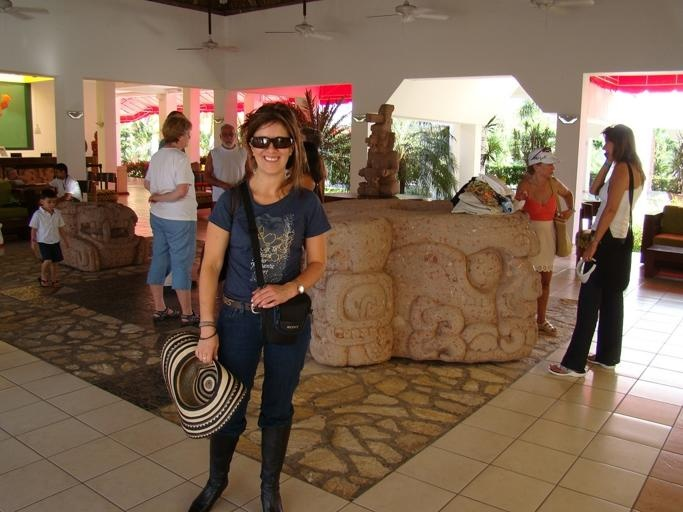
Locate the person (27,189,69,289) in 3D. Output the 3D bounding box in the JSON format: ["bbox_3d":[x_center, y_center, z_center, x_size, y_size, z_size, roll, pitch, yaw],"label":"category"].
[{"bbox_3d":[-3.903,-0.291,6.129,0.382,1.258,0.891,-6,14,-34],"label":"person"}]

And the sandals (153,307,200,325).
[{"bbox_3d":[-1.672,0.581,4.719,0.553,0.210,0.201,0,6,-13],"label":"sandals"}]

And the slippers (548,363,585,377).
[{"bbox_3d":[1.854,0.932,3.751,0.224,0.089,0.106,6,5,25],"label":"slippers"}]

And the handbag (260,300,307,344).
[{"bbox_3d":[-0.227,0.239,1.932,0.200,0.225,0.165,-2,8,-32],"label":"handbag"}]

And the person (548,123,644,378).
[{"bbox_3d":[2.115,-0.040,3.738,0.424,2.017,0.698,11,15,39],"label":"person"}]

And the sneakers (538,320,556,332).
[{"bbox_3d":[2.127,0.722,4.695,0.199,0.090,0.090,-3,9,-20],"label":"sneakers"}]

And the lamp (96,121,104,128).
[{"bbox_3d":[-8.115,-4.482,15.532,0.296,0.203,0.219,3,0,44],"label":"lamp"}]

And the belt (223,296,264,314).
[{"bbox_3d":[-0.418,0.208,1.928,0.096,0.023,0.097,11,7,0],"label":"belt"}]

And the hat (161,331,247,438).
[{"bbox_3d":[-0.584,0.533,1.932,0.361,0.385,0.192,10,15,39],"label":"hat"}]

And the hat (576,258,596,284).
[{"bbox_3d":[1.998,0.122,3.741,0.069,0.190,0.137,9,7,-36],"label":"hat"}]

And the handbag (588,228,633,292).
[{"bbox_3d":[2.177,0.040,3.682,0.356,0.514,0.104,-3,12,-20],"label":"handbag"}]

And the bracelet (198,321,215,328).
[{"bbox_3d":[-0.548,0.277,1.892,0.059,0.035,0.039,-2,12,-17],"label":"bracelet"}]

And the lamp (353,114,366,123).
[{"bbox_3d":[0.481,-3.381,11.219,0.181,0.200,0.403,-8,15,-39],"label":"lamp"}]

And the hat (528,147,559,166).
[{"bbox_3d":[1.942,-0.964,4.446,0.225,0.116,0.169,7,22,41],"label":"hat"}]

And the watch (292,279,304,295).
[{"bbox_3d":[-0.175,0.131,1.925,0.060,0.064,0.040,1,-21,14],"label":"watch"}]

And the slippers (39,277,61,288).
[{"bbox_3d":[-3.801,0.318,5.994,0.369,0.085,0.134,6,5,41],"label":"slippers"}]

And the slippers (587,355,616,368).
[{"bbox_3d":[2.228,0.923,3.951,0.087,0.063,0.213,-4,3,-23],"label":"slippers"}]
